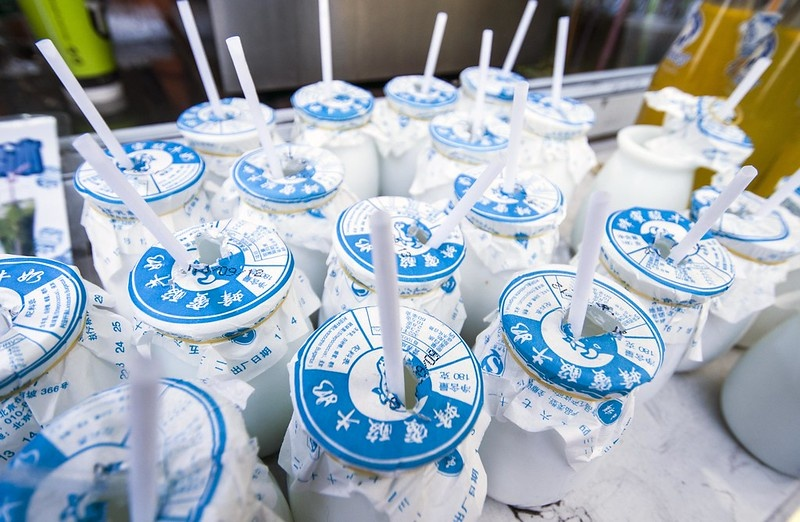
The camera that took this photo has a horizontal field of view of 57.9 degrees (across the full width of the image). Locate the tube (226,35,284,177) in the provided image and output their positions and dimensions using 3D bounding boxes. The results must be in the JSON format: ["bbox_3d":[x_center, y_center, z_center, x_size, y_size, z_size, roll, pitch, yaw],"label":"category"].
[{"bbox_3d":[-0.369,-0.382,1.899,0.072,0.363,0.206,-20,51,-20],"label":"tube"}]

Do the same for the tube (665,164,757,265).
[{"bbox_3d":[0.845,-0.119,1.959,0.074,0.363,0.076,2,42,-46],"label":"tube"}]

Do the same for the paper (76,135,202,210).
[{"bbox_3d":[-0.657,-0.220,1.903,0.223,0.063,0.229,28,45,26],"label":"paper"}]

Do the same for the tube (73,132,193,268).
[{"bbox_3d":[-0.683,-0.148,1.859,0.097,0.491,0.067,4,48,43],"label":"tube"}]
